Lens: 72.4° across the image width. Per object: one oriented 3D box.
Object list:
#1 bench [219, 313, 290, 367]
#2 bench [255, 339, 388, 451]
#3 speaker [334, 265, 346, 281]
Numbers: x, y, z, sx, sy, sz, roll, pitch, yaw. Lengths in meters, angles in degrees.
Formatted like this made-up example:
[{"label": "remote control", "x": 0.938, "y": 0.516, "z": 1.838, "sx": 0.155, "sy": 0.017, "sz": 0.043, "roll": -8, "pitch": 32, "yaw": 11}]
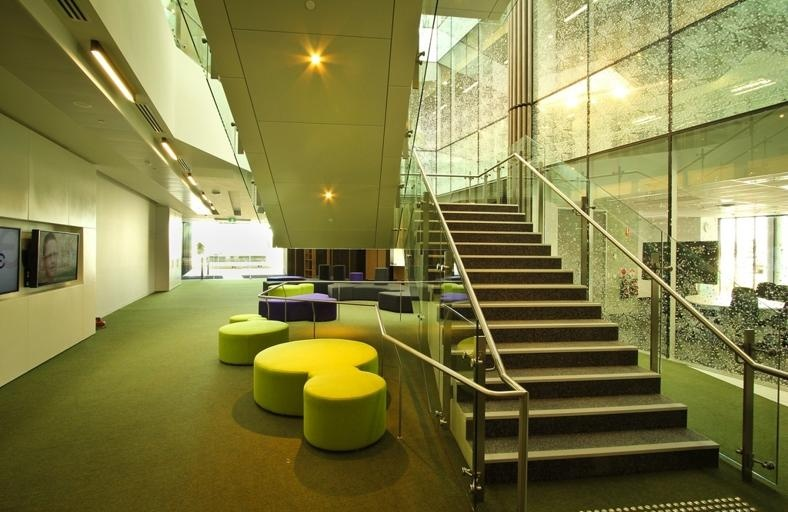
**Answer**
[{"label": "bench", "x": -2.686, "y": 1.618, "z": 10.440, "sx": 1.263, "sy": 0.640, "sz": 1.265, "roll": 2, "pitch": 5, "yaw": 26}, {"label": "bench", "x": -1.097, "y": 2.019, "z": 8.563, "sx": 2.101, "sy": 0.684, "sz": 3.036, "roll": -3, "pitch": 9, "yaw": -26}, {"label": "speaker", "x": -1.939, "y": 0.580, "z": 19.159, "sx": 0.483, "sy": 0.449, "sz": 0.242, "roll": 2, "pitch": 8, "yaw": 4}]
